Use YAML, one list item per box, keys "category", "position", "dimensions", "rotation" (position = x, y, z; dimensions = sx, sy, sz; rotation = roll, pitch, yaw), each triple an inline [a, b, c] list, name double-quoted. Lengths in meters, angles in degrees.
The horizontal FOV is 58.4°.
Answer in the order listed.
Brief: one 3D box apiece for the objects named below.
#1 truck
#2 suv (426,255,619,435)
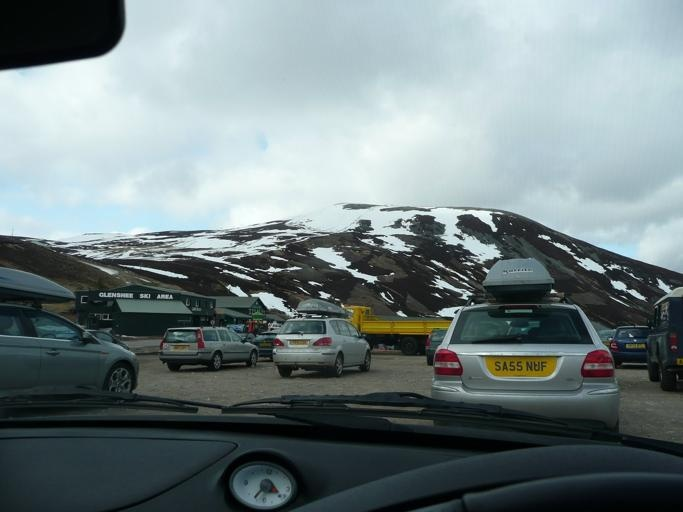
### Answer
- category: "truck"
  position: [2.857, 4.466, 37.848]
  dimensions: [8.447, 2.232, 2.980]
  rotation: [2, -4, 25]
- category: "suv"
  position: [1.868, 0.926, 6.282]
  dimensions: [1.535, 1.073, 3.006]
  rotation: [-1, -4, 17]
